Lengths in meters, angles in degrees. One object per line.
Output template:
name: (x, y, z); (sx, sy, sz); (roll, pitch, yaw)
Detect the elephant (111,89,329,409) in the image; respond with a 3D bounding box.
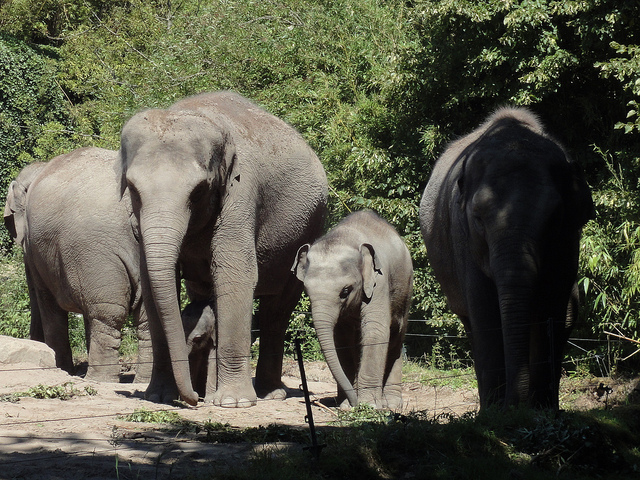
elephant: (-1.202, 0.123, 10.980); (1.927, 3.704, 4.461); (-2, -2, 11)

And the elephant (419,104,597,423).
elephant: (2.049, 0.422, 9.530); (1.606, 3.186, 4.047); (-1, -3, 10)
